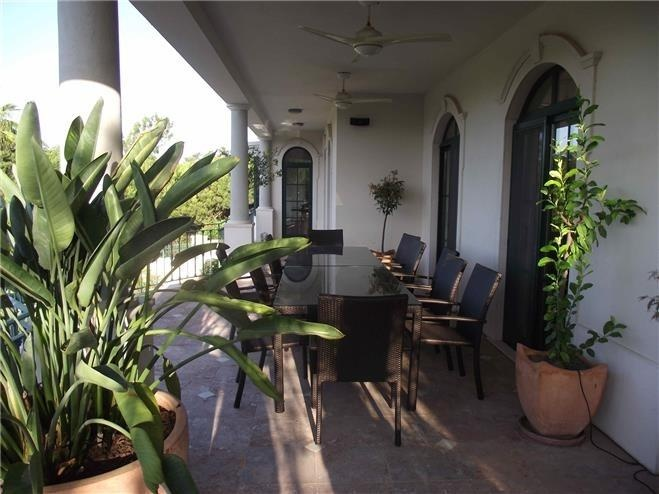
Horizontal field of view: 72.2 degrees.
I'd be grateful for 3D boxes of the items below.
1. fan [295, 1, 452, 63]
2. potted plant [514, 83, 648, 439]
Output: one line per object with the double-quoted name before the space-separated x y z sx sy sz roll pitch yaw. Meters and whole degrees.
"fan" 0.415 -2.048 4.250 0.874 0.406 0.932 -3 19 -16
"potted plant" 1.632 0.083 3.154 0.627 2.202 1.114 2 10 12
